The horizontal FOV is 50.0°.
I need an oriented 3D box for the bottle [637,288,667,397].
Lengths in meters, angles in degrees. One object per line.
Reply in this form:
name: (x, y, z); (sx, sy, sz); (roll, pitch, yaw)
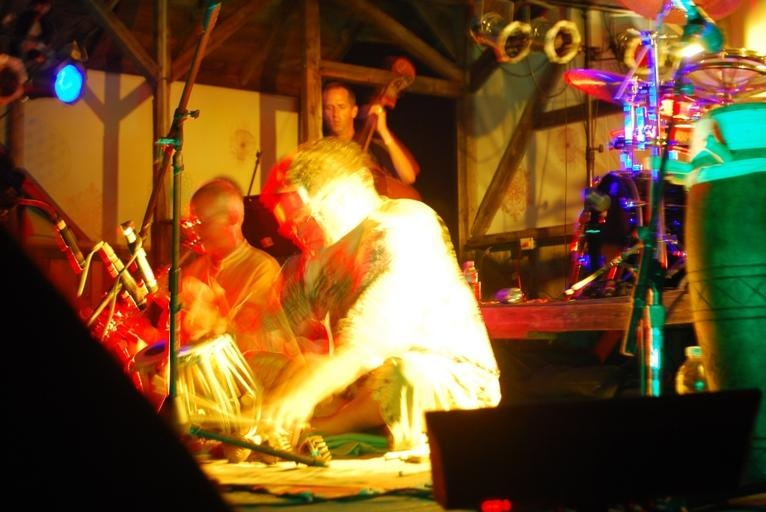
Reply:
bottle: (0.917, 0.306, 2.827); (0.084, 0.380, 0.241); (2, 11, 17)

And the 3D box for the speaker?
speaker: (0.575, 0.517, 2.198); (0.938, 0.303, 0.087); (-3, 11, -12)

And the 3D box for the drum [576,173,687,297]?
drum: (1.572, -0.122, 5.356); (0.659, 0.821, 1.264); (1, 10, 13)

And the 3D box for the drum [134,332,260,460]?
drum: (-0.689, 0.507, 3.309); (0.352, 0.361, 0.363); (2, 12, -5)

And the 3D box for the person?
person: (-0.218, 0.190, 3.636); (1.182, 1.290, 1.254); (1, -9, -30)
